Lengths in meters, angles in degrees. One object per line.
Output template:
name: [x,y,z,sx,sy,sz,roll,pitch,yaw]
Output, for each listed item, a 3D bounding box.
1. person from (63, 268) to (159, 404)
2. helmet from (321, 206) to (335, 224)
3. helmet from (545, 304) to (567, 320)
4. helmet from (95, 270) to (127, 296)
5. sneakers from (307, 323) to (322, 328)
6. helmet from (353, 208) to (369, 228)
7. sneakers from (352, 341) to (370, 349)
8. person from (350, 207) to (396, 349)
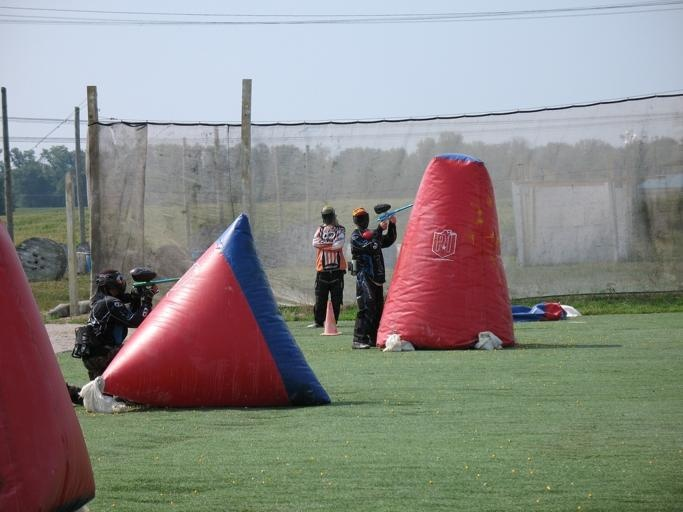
person: [-2.499,1.007,14.658,0.911,1.780,0.732,4,7,-7]
helmet: [-0.186,-0.608,19.736,0.191,0.253,0.256,0,-5,-1]
helmet: [3.295,0.851,20.401,0.305,0.179,0.233,-1,0,13]
helmet: [-2.560,0.294,14.608,0.254,0.293,0.299,4,11,42]
sneakers: [-0.414,1.058,20.117,0.194,0.082,0.071,4,2,6]
helmet: [0.269,-0.495,17.922,0.207,0.276,0.276,-1,-10,-40]
sneakers: [0.258,1.167,17.321,0.238,0.106,0.087,-1,-3,10]
person: [0.362,0.281,17.607,0.464,1.431,0.807,-1,0,30]
